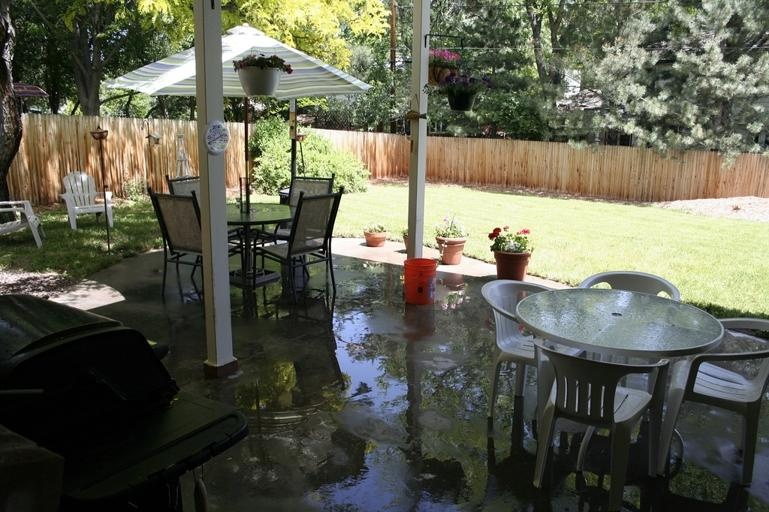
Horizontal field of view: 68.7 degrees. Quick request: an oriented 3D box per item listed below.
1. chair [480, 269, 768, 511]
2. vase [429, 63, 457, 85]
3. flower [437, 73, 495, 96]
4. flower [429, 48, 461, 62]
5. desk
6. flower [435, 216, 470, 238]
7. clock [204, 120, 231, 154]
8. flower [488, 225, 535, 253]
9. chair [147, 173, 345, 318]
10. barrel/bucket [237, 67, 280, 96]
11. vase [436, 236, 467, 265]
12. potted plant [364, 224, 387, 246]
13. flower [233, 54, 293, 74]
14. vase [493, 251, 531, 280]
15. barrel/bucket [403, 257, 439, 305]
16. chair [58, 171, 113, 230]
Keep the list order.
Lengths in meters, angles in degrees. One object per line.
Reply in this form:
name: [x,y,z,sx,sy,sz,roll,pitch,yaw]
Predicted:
chair: [1.870,0.960,4.250,2.030,1.129,1.558,0,13,-6]
vase: [0.603,-2.031,6.241,0.238,0.114,0.241,0,3,-5]
flower: [0.860,-1.875,6.077,0.560,0.232,0.311,3,13,7]
flower: [0.684,-2.327,6.468,0.300,0.207,0.686,3,13,5]
desk: [-1.148,1.005,2.844,0.844,0.381,0.394,-10,18,-42]
flower: [0.966,-0.385,8.001,0.347,0.254,0.342,-12,33,-26]
clock: [-1.363,-0.982,4.643,0.117,0.276,0.250,5,14,13]
flower: [1.607,-0.201,7.168,0.491,0.317,0.566,6,13,23]
chair: [-1.769,-0.027,7.107,1.830,0.989,1.851,-2,13,-12]
barrel/bucket: [-1.369,-1.884,6.079,0.322,0.202,0.320,-1,6,0]
vase: [0.945,-0.100,8.067,0.387,0.319,0.395,1,9,7]
potted plant: [-0.153,-0.339,9.052,0.323,0.227,0.330,1,9,14]
flower: [-1.273,-2.059,5.983,0.339,0.116,0.336,-4,10,-44]
vase: [1.597,0.081,7.139,0.379,0.297,0.384,-3,13,-14]
barrel/bucket: [0.460,0.287,6.736,0.472,0.525,0.474,-1,10,0]
chair: [-5.224,-0.947,9.788,0.811,0.932,0.970,-11,18,-43]
